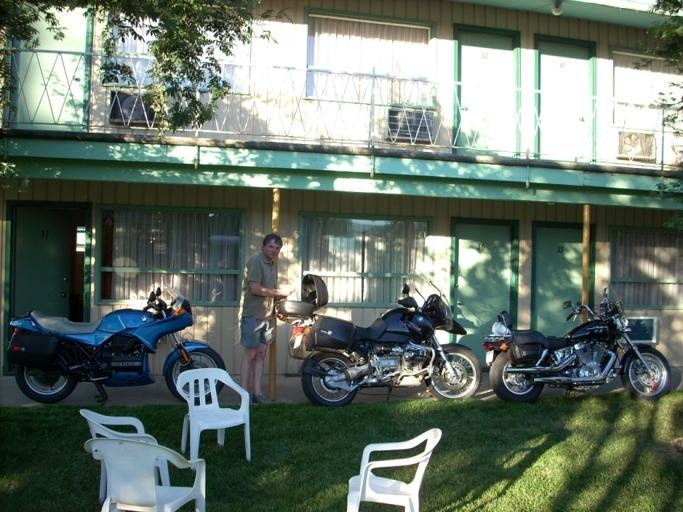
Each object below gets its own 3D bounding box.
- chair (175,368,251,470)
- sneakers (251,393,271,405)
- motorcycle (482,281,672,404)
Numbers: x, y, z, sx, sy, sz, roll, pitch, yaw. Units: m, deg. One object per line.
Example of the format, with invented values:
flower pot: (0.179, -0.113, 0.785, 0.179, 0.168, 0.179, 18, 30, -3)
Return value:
chair: (-1.600, 1.974, 9.812, 0.710, 1.192, 0.809, -1, 1, 39)
sneakers: (-1.156, 2.051, 11.442, 0.305, 0.170, 0.124, 2, -4, -6)
motorcycle: (3.376, 1.337, 12.446, 2.732, 2.318, 1.385, -1, -6, -11)
